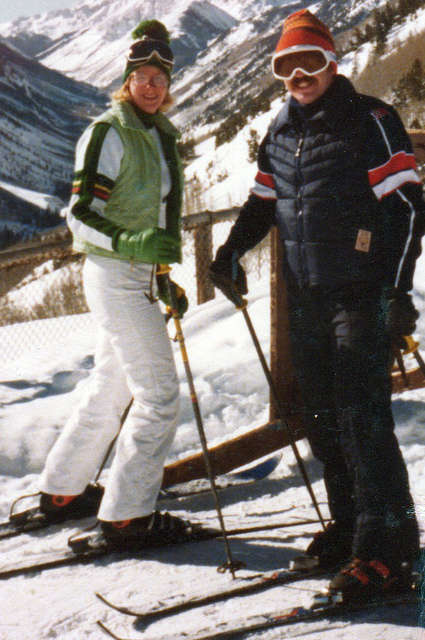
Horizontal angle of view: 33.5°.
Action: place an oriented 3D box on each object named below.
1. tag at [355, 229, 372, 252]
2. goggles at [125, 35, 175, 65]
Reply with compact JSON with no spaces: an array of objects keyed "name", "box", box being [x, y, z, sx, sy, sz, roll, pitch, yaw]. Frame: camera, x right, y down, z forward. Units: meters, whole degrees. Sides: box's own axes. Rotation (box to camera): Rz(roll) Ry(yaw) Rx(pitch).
[{"name":"tag","box":[0.570,-0.298,2.673,0.057,0.084,0.019,-2,13,33]},{"name":"goggles","box":[-0.272,-1.147,3.005,0.203,0.132,0.161,-7,9,-3]}]
